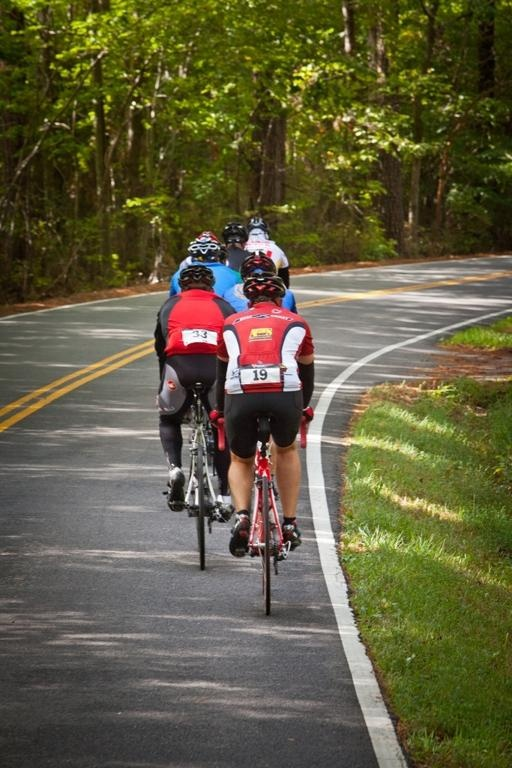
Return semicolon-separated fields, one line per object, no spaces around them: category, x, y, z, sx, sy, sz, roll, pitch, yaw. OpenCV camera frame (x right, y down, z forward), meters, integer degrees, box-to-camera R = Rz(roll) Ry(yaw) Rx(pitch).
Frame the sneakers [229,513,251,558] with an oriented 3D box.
sneakers;-0.104;0.908;5.596;0.106;0.117;0.286;-2;-34;-4

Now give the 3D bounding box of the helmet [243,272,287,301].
helmet;0.047;-0.590;5.731;0.225;0.100;0.151;-2;-24;6

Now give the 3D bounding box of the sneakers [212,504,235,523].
sneakers;-0.249;0.884;6.563;0.115;0.138;0.153;10;-4;25

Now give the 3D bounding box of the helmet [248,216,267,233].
helmet;0.019;-1.553;9.131;0.180;0.190;0.198;2;-2;1

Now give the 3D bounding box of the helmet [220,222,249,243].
helmet;-0.190;-1.499;9.454;0.221;0.232;0.277;14;22;39

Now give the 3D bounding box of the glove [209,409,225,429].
glove;-0.248;0.218;5.940;0.093;0.068;0.141;-1;0;0

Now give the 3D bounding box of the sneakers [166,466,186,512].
sneakers;-0.540;0.745;6.604;0.119;0.131;0.316;-2;-36;-4

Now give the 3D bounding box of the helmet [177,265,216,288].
helmet;-0.437;-0.776;6.949;0.181;0.202;0.166;0;27;-5

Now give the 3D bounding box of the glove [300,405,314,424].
glove;0.321;0.186;5.938;0.088;0.096;0.075;-4;18;-40

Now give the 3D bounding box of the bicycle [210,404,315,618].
bicycle;0.044;0.646;5.718;0.611;0.709;1.269;-1;19;-5
